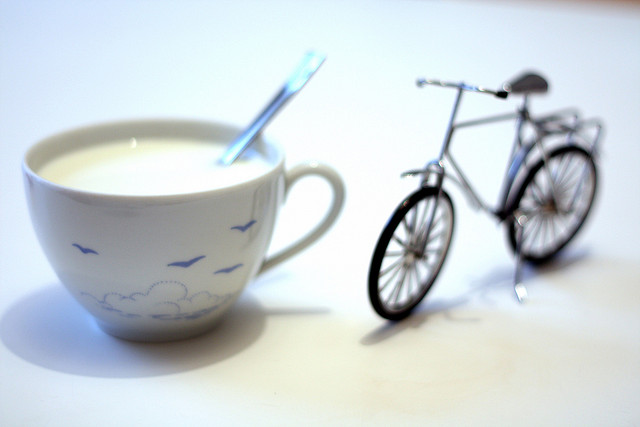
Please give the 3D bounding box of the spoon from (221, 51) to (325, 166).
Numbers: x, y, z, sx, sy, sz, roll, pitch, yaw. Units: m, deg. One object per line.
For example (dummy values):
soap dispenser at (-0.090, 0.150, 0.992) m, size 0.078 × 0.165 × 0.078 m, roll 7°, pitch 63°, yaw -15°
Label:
spoon at (-0.094, -0.168, 1.129) m, size 0.048 × 0.366 × 0.037 m, roll 39°, pitch 14°, yaw 20°
